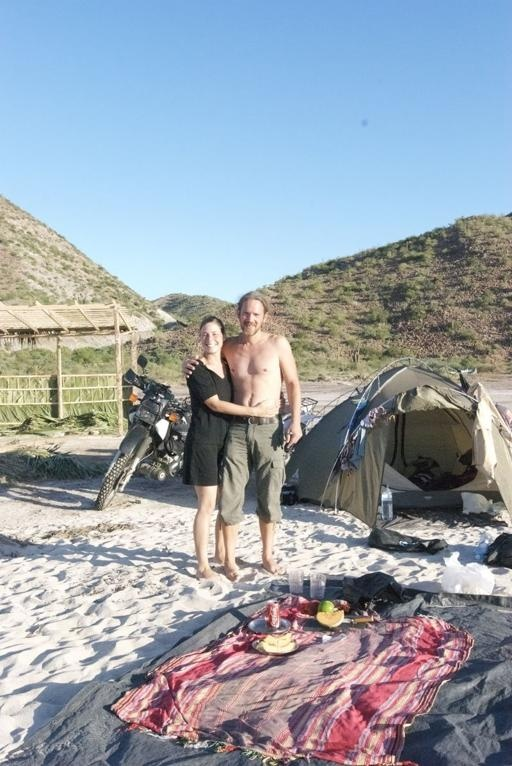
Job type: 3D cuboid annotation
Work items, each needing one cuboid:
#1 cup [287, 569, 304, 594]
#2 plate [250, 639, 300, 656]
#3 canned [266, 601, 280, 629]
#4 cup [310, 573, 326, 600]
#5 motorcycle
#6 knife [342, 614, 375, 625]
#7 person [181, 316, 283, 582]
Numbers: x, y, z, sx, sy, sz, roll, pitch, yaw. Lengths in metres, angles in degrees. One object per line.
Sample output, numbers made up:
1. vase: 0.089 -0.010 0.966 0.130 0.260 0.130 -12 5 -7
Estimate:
1. cup: 0.240 1.212 3.394 0.085 0.145 0.057 -3 -2 -13
2. plate: 0.085 1.178 2.503 0.194 0.050 0.122 -3 -3 -4
3. canned: 0.080 1.124 2.718 0.058 0.136 0.064 -3 -3 -14
4. cup: 0.351 1.208 3.314 0.119 0.147 0.121 1 -8 0
5. motorcycle: -1.101 0.632 6.990 1.089 1.570 2.717 16 1 18
6. knife: 0.537 1.229 2.915 0.153 0.026 0.190 -4 -3 10
7. person: -0.286 0.417 3.994 0.492 1.828 0.369 -3 -2 -9
